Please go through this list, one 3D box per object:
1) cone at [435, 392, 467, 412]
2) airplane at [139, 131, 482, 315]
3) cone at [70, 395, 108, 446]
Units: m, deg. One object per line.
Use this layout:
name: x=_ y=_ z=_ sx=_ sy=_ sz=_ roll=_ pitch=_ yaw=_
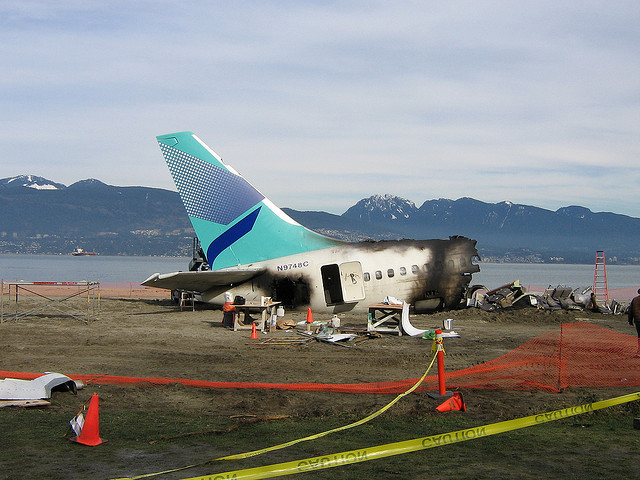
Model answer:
cone: x=3.671 y=4.578 z=21.636 sx=0.789 sy=0.227 sz=0.562 roll=-5 pitch=5 yaw=-8
airplane: x=-0.858 y=-0.994 z=40.914 sx=15.874 sy=7.281 sz=4.003 roll=2 pitch=-1 yaw=-2
cone: x=-5.876 y=4.579 z=19.581 sx=0.888 sy=1.089 sz=0.390 roll=3 pitch=-1 yaw=-10
